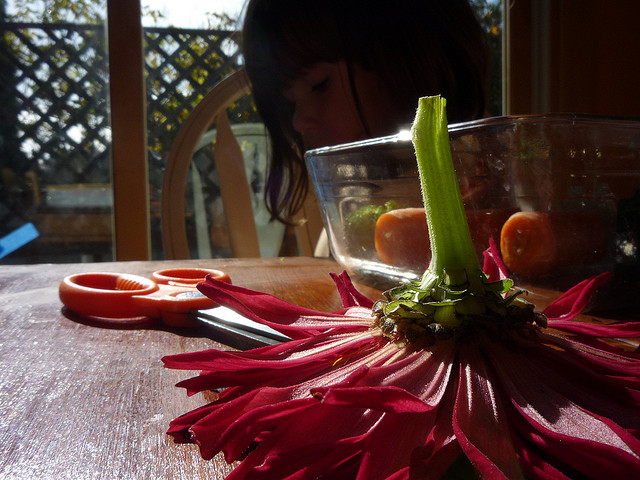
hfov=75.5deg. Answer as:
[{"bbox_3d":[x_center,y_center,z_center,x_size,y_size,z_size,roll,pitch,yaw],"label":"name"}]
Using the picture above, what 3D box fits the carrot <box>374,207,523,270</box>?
[{"bbox_3d":[0.102,0.005,0.353,0.037,0.048,0.143,2,-5,-16],"label":"carrot"}]
